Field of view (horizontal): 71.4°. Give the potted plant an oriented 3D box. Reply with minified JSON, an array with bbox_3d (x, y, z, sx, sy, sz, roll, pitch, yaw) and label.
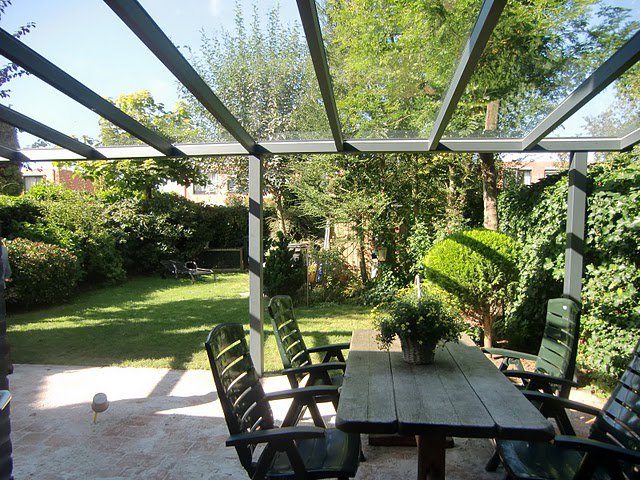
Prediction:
[{"bbox_3d":[0.679,0.652,3.353,0.616,0.394,0.549,1,-10,-4],"label":"potted plant"}]

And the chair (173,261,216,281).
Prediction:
[{"bbox_3d":[-4.211,0.981,14.991,1.161,0.558,1.385,-1,2,15],"label":"chair"}]
